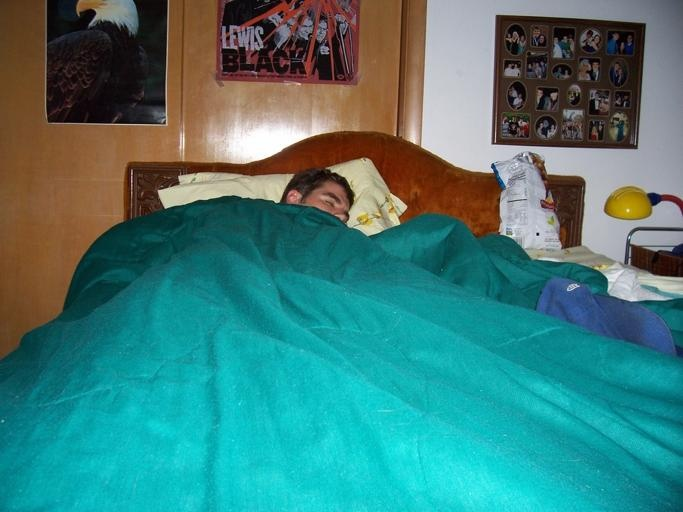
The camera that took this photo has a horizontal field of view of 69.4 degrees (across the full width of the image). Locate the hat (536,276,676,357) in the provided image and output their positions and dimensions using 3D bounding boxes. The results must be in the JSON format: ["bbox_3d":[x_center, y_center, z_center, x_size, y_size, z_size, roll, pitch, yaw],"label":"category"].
[{"bbox_3d":[0.710,0.136,1.324,0.240,0.083,0.189,11,7,11],"label":"hat"}]

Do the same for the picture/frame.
[{"bbox_3d":[1.218,-0.985,2.715,0.639,0.582,0.029,1,5,-4],"label":"picture/frame"}]
